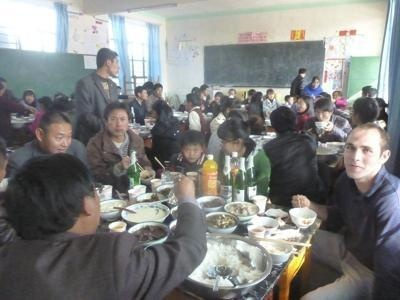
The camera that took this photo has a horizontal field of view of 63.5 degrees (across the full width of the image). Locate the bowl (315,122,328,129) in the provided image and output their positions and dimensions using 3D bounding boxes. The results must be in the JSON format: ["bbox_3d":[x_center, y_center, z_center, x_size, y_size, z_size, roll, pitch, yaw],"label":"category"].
[{"bbox_3d":[1.251,-0.263,3.374,0.084,0.026,0.085,-1,17,0],"label":"bowl"}]

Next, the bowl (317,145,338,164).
[{"bbox_3d":[1.248,0.044,3.173,0.186,0.046,0.189,-6,23,3],"label":"bowl"}]

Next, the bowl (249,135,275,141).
[{"bbox_3d":[0.730,-0.141,3.793,0.157,0.040,0.171,-1,6,0],"label":"bowl"}]

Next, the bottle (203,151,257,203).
[{"bbox_3d":[0.190,0.174,1.964,0.310,0.325,0.099,0,-1,-5],"label":"bottle"}]

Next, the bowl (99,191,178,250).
[{"bbox_3d":[-0.285,0.362,1.675,0.256,0.045,0.193,14,24,22],"label":"bowl"}]
